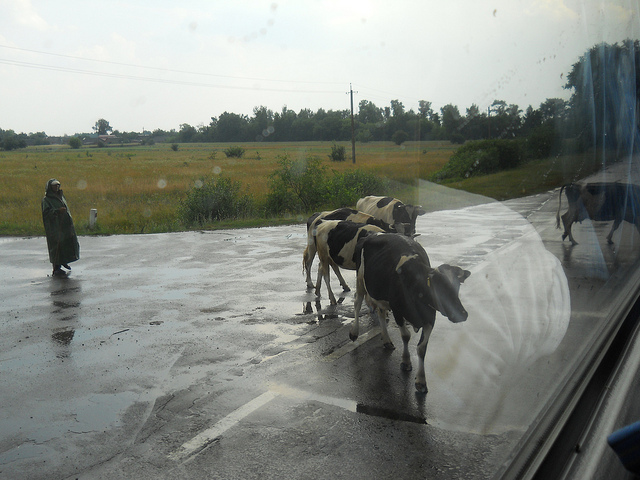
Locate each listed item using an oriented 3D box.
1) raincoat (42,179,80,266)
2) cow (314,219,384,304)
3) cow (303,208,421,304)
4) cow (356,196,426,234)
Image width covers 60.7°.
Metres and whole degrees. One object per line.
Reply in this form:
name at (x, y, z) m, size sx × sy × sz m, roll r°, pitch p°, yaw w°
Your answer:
raincoat at (-6.963, -0.402, 14.821) m, size 0.842 × 2.631 × 0.786 m, roll -7°, pitch 18°, yaw -43°
cow at (0.457, 0.360, 11.433) m, size 1.944 × 1.506 × 0.520 m, roll 1°, pitch 10°, yaw -44°
cow at (0.933, 0.513, 12.216) m, size 0.965 × 2.059 × 3.271 m, roll -3°, pitch 4°, yaw -40°
cow at (1.817, -0.462, 15.169) m, size 2.190 × 1.366 × 0.826 m, roll 7°, pitch 11°, yaw 35°
